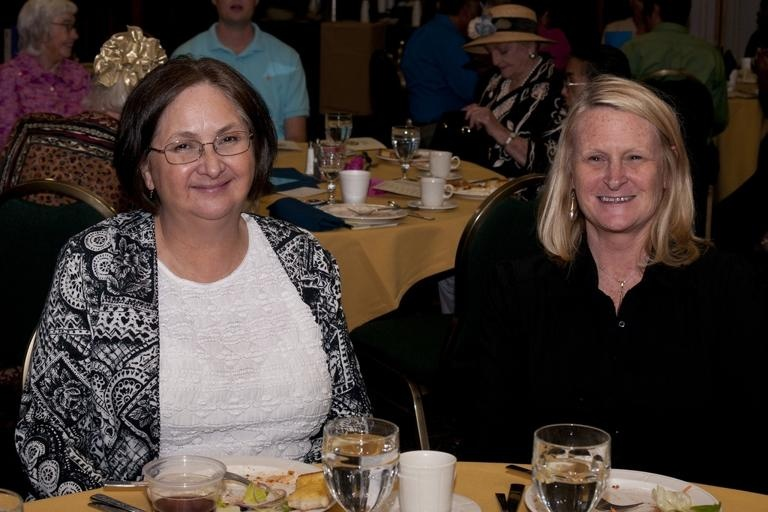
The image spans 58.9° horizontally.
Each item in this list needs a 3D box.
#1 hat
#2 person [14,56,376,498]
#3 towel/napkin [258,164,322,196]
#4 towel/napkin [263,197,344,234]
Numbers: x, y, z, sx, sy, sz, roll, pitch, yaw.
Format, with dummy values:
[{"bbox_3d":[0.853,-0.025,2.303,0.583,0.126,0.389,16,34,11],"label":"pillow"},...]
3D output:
[{"bbox_3d":[0.904,-1.679,4.904,0.572,0.271,0.574,0,-2,39],"label":"hat"},{"bbox_3d":[-0.547,0.018,1.890,0.922,1.131,0.542,-5,15,-26],"label":"person"},{"bbox_3d":[-0.515,-0.390,3.520,0.311,0.077,0.318,13,17,41],"label":"towel/napkin"},{"bbox_3d":[-0.344,-0.204,2.870,0.214,0.054,0.185,23,27,38],"label":"towel/napkin"}]
